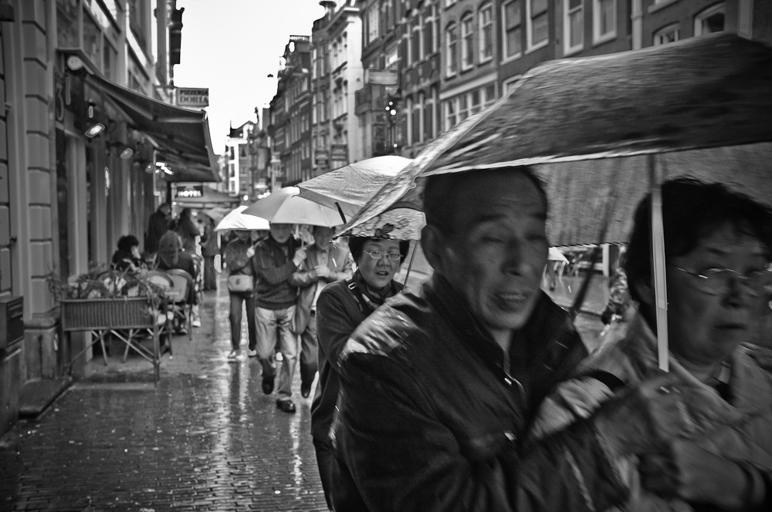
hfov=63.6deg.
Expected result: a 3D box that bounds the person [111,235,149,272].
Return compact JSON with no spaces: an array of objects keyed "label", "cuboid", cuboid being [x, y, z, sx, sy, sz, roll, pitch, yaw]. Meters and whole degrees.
[{"label":"person","cuboid":[-5.680,-0.052,13.698,0.498,1.018,0.593,-16,24,-41]}]

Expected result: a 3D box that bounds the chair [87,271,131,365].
[{"label":"chair","cuboid":[-4.654,1.021,10.568,0.684,1.627,2.107,-1,3,-24]}]

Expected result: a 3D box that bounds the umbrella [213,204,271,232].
[{"label":"umbrella","cuboid":[-3.157,-0.735,13.290,1.017,0.371,1.042,-2,1,21]}]

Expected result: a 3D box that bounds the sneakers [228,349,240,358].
[{"label":"sneakers","cuboid":[-2.757,1.768,11.242,0.134,0.159,0.159,2,-14,-14]}]

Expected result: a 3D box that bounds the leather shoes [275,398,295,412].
[{"label":"leather shoes","cuboid":[-1.308,1.934,8.104,0.293,0.156,0.222,0,2,4]}]

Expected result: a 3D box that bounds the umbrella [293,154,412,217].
[{"label":"umbrella","cuboid":[-0.183,-0.567,5.045,0.790,0.344,0.816,6,-11,-41]}]

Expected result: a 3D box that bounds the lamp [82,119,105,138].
[{"label":"lamp","cuboid":[-5.311,-2.361,11.310,0.345,0.283,0.614,-1,3,-26]}]
